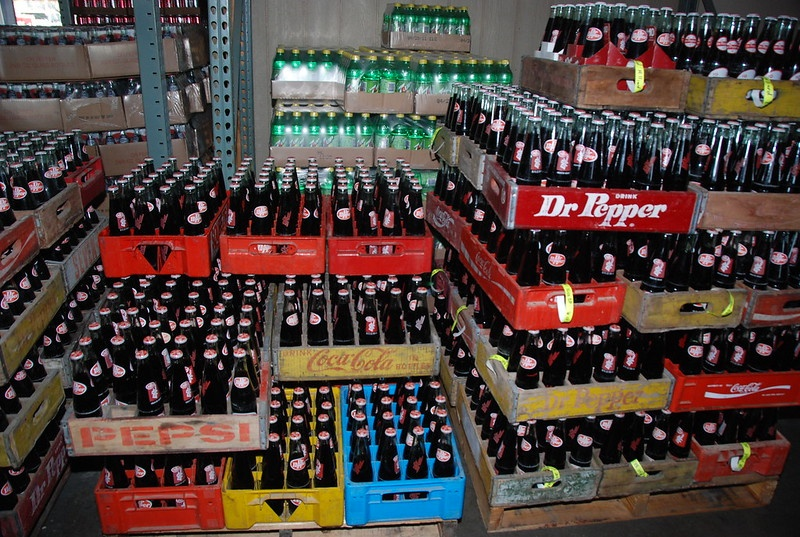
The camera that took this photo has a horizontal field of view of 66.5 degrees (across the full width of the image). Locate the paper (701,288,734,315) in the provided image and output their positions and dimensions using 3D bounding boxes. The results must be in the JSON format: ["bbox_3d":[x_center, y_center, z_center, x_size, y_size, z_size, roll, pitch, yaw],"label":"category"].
[{"bbox_3d":[1.777,0.200,3.393,0.174,0.156,0.021,-4,18,-4],"label":"paper"}]

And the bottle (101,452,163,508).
[{"bbox_3d":[-1.477,1.176,3.355,0.267,0.334,0.229,-9,19,-19],"label":"bottle"}]

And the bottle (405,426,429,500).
[{"bbox_3d":[0.086,1.047,3.478,0.121,0.318,0.265,0,18,8],"label":"bottle"}]

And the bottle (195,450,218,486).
[{"bbox_3d":[-1.110,1.137,3.469,0.120,0.146,0.098,-10,19,-21],"label":"bottle"}]

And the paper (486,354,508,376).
[{"bbox_3d":[0.557,0.547,3.467,0.101,0.095,0.098,-33,40,-32],"label":"paper"}]

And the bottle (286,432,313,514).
[{"bbox_3d":[-0.580,1.069,3.429,0.132,0.321,0.256,-2,18,3],"label":"bottle"}]

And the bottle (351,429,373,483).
[{"bbox_3d":[-0.235,1.038,3.510,0.132,0.363,0.212,-3,18,-2],"label":"bottle"}]

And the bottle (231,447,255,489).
[{"bbox_3d":[-0.903,1.155,3.498,0.161,0.211,0.093,-10,19,-23],"label":"bottle"}]

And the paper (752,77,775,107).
[{"bbox_3d":[1.967,-0.937,3.288,0.030,0.124,0.121,12,-18,21],"label":"paper"}]

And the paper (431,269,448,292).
[{"bbox_3d":[0.274,0.089,4.287,0.109,0.147,0.037,3,6,44],"label":"paper"}]

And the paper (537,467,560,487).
[{"bbox_3d":[0.858,1.180,3.516,0.098,0.128,0.052,5,10,4],"label":"paper"}]

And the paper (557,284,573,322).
[{"bbox_3d":[0.866,0.195,3.223,0.100,0.216,0.055,-2,18,3],"label":"paper"}]

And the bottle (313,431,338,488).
[{"bbox_3d":[-0.429,1.058,3.419,0.140,0.345,0.245,-5,18,-9],"label":"bottle"}]

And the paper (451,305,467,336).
[{"bbox_3d":[0.379,0.346,4.005,0.127,0.169,0.042,2,22,-11],"label":"paper"}]

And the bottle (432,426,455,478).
[{"bbox_3d":[0.244,1.041,3.445,0.126,0.321,0.150,-2,18,3],"label":"bottle"}]

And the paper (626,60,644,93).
[{"bbox_3d":[1.258,-1.021,3.289,0.038,0.160,0.118,-2,2,-42],"label":"paper"}]

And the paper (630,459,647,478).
[{"bbox_3d":[1.386,1.163,3.574,0.086,0.104,0.033,-35,7,-20],"label":"paper"}]
